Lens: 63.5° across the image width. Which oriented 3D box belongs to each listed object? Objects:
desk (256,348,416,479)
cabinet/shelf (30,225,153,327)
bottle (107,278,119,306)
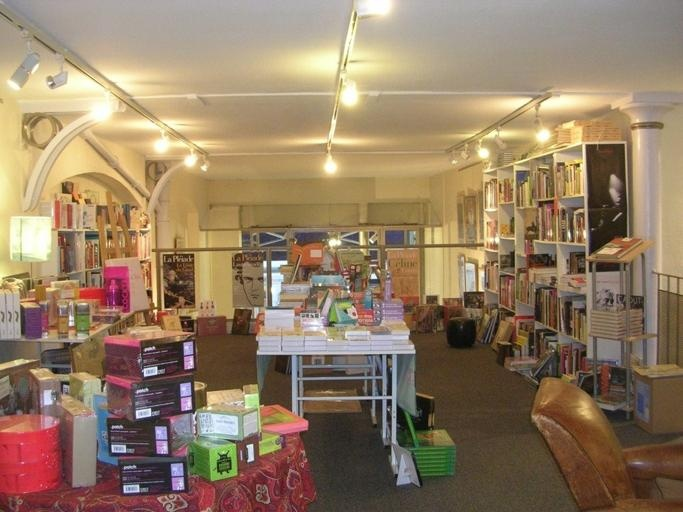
[{"bbox_3d":[-0.011,1.400,5.768,1.534,0.969,1.961,3,-1,-11],"label":"desk"},{"bbox_3d":[-2.875,0.164,6.794,1.097,1.530,1.523,-5,0,4],"label":"cabinet/shelf"},{"bbox_3d":[-2.484,0.390,6.000,0.149,0.299,0.067,-3,5,-19],"label":"bottle"}]
